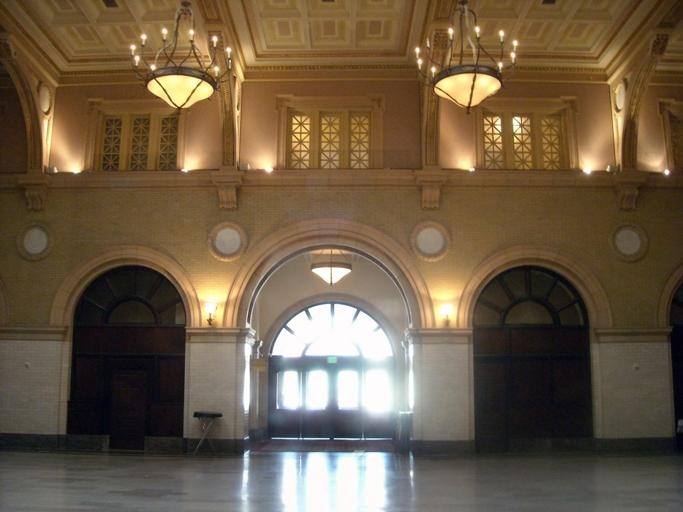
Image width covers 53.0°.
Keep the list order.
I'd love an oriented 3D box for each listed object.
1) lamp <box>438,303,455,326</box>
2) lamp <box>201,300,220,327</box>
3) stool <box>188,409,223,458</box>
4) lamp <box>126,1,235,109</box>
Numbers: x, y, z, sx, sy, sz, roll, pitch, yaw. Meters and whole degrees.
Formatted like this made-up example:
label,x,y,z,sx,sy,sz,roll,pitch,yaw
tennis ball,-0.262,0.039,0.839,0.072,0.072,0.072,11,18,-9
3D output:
label,x,y,z,sx,sy,sz,roll,pitch,yaw
lamp,2.327,1.298,15.121,0.403,0.689,0.416,-1,-8,6
lamp,-2.876,1.282,15.169,0.432,0.634,0.408,-1,-8,2
stool,-3.010,3.803,14.851,0.767,0.998,0.787,0,-8,-3
lamp,-3.184,-4.151,13.834,1.589,2.172,1.652,-4,-32,9
